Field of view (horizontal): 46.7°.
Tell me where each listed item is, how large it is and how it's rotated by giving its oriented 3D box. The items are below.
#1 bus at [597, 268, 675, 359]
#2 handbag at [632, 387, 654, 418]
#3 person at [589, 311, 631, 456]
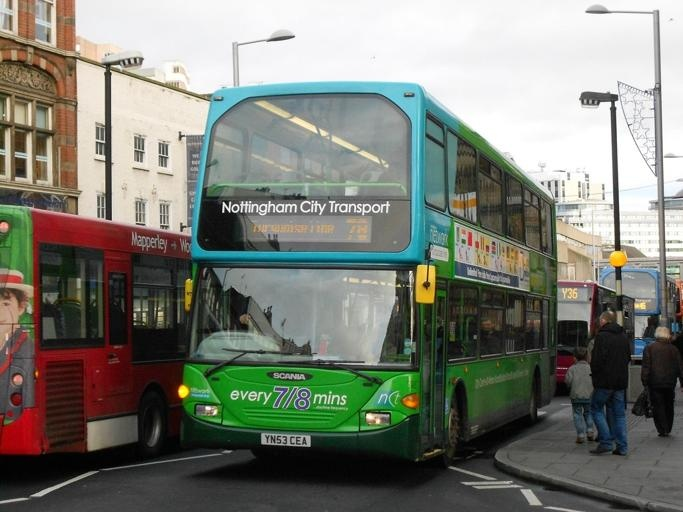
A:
[{"bbox_3d":[15.434,2.568,40.818,3.101,4.955,9.252,0,0,17],"label":"bus"},{"bbox_3d":[5.648,2.765,14.902,0.349,0.538,0.844,-2,-5,21],"label":"handbag"},{"bbox_3d":[4.312,2.061,12.785,0.659,2.308,0.501,-1,-3,1],"label":"person"}]
